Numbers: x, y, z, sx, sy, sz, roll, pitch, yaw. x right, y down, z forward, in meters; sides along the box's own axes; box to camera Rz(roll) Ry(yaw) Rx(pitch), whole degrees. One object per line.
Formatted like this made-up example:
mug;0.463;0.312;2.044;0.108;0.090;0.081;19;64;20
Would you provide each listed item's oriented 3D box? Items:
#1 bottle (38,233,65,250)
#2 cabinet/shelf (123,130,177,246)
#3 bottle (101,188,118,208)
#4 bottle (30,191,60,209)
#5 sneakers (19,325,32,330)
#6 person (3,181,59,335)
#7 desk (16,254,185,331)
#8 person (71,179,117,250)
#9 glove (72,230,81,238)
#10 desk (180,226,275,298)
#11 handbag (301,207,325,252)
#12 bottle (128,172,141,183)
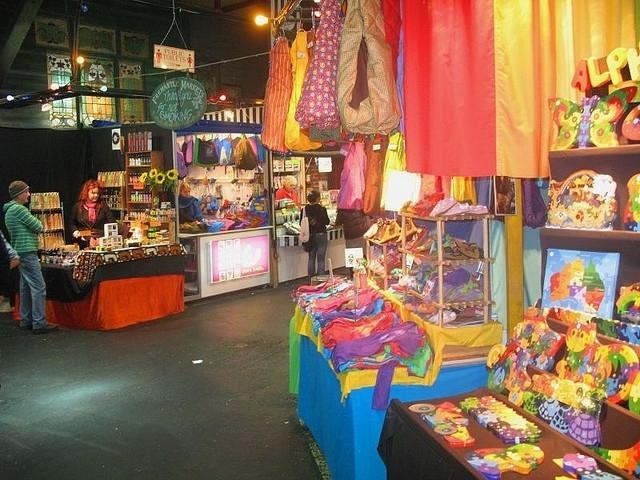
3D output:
bottle;-4.913;0.027;8.986;0.153;0.301;0.282;-1;0;35
cabinet/shelf;-2.994;-1.028;8.685;0.765;1.998;1.967;-5;9;-30
bottle;-4.144;-0.835;9.838;0.534;0.424;0.164;7;6;42
bottle;-5.133;-0.848;9.220;0.276;0.429;0.494;3;5;41
sneakers;-4.235;1.256;7.125;0.167;0.092;0.065;-2;-1;17
person;-4.134;0.237;7.023;0.491;2.109;0.629;-5;9;-34
desk;-3.054;0.815;7.585;1.381;0.806;1.423;1;2;37
person;-3.784;-0.440;8.160;0.623;1.062;0.835;-2;8;-11
glove;-3.885;-0.093;7.880;0.118;0.099;0.044;5;8;30
desk;-1.815;0.387;9.163;0.989;1.248;1.879;0;3;38
handbag;-0.097;-0.240;9.194;0.498;0.931;0.330;-1;7;0
bottle;-3.463;-1.153;9.193;0.173;0.088;0.250;0;0;-7
